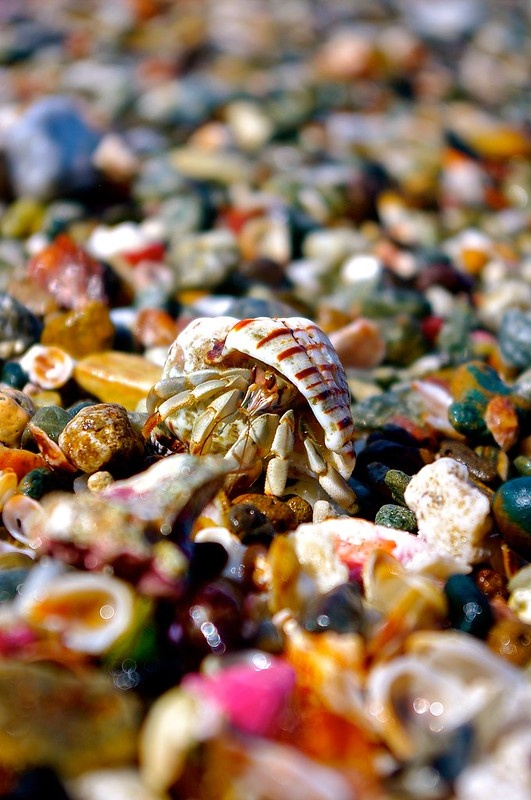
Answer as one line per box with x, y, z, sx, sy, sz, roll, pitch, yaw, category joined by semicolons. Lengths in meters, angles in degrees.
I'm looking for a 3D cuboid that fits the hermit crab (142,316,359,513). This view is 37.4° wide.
-0.031;0.021;1.454;0.346;0.231;0.374;-5;81;-12;hermit crab
